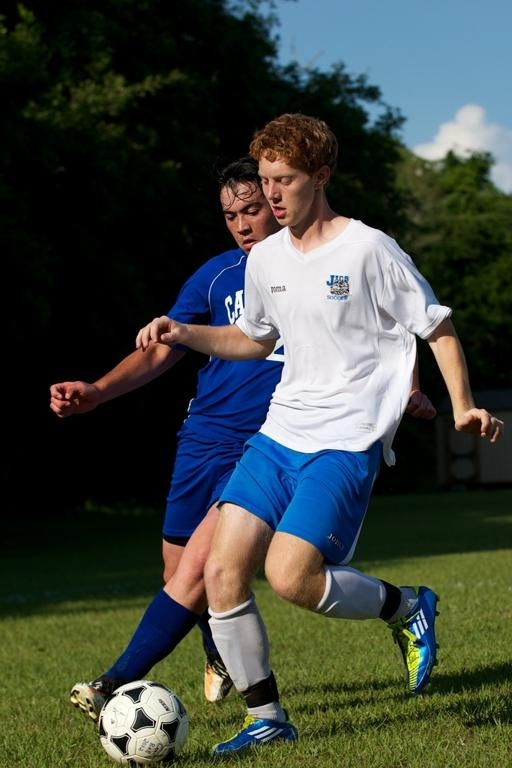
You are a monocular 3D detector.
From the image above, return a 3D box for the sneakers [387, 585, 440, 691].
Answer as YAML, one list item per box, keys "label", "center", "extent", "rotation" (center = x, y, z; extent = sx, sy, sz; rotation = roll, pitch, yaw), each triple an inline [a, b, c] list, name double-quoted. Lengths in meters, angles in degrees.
- label: "sneakers"
  center: [0.622, 0.966, 3.123]
  extent: [0.260, 0.434, 0.156]
  rotation: [10, -22, -19]

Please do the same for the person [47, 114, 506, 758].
- label: "person"
  center: [0.228, 0.144, 2.799]
  extent: [1.138, 2.184, 0.819]
  rotation: [1, 4, 14]

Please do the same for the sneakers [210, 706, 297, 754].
- label: "sneakers"
  center: [0.012, 1.111, 2.671]
  extent: [0.344, 0.124, 0.107]
  rotation: [-9, -8, 1]

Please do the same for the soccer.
- label: "soccer"
  center: [-0.357, 1.126, 2.821]
  extent: [0.254, 0.256, 0.265]
  rotation: [-2, -4, 38]

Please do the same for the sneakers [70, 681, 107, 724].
- label: "sneakers"
  center: [-0.622, 1.178, 3.052]
  extent: [0.174, 0.123, 0.066]
  rotation: [11, 21, 38]

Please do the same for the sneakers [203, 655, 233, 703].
- label: "sneakers"
  center: [-0.185, 1.335, 3.706]
  extent: [0.083, 0.216, 0.110]
  rotation: [-3, -19, 38]
